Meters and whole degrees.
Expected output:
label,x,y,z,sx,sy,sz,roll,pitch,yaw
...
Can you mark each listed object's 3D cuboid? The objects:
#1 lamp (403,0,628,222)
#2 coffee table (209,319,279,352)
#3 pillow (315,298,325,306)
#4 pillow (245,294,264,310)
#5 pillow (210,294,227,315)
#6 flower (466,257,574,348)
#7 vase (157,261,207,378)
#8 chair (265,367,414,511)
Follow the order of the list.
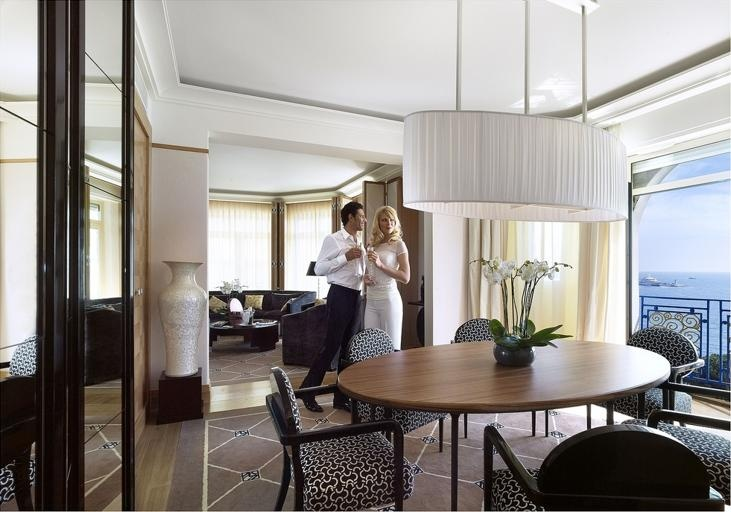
label,x,y,z,sx,sy,sz,roll,pitch,yaw
lamp,0.818,-0.491,2.857,1.218,0.577,0.549,-1,4,-8
coffee table,-1.697,1.070,7.157,0.894,0.462,1.285,-1,4,-17
pillow,-0.643,0.644,7.262,0.113,0.046,0.112,-3,1,-21
pillow,-2.002,0.815,9.230,0.341,0.349,0.146,4,-27,-10
pillow,-2.500,0.800,8.704,0.272,0.209,0.467,-1,4,-18
flower,0.931,0.287,3.258,0.551,0.520,0.572,-6,-3,0
vase,-1.502,0.514,4.262,0.383,0.946,0.210,-2,4,-27
chair,-0.267,0.984,2.926,0.785,1.041,0.759,-1,-1,-14
